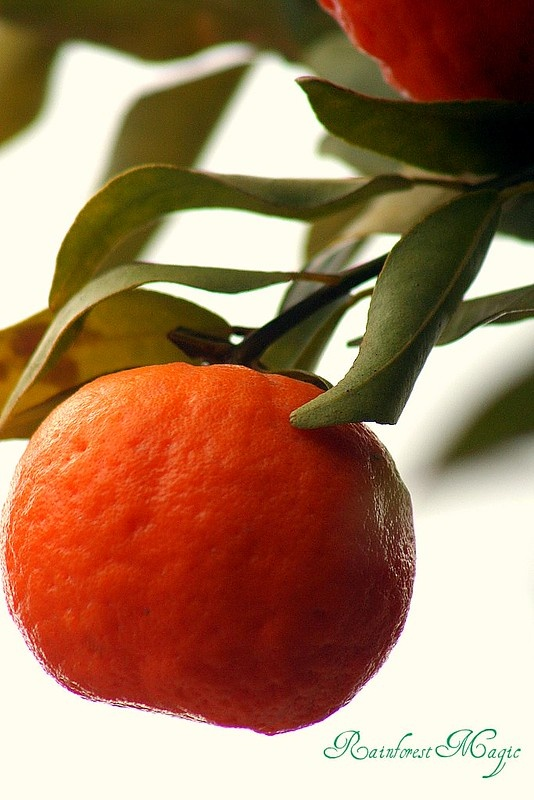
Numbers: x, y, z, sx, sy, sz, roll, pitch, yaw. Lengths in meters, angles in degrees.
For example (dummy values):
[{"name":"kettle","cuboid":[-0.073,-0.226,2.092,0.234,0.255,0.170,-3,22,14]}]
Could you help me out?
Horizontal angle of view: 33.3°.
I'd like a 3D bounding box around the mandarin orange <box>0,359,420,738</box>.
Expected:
[{"name":"mandarin orange","cuboid":[-0.015,0.083,0.501,0.218,0.186,0.165,6,69,-4]}]
